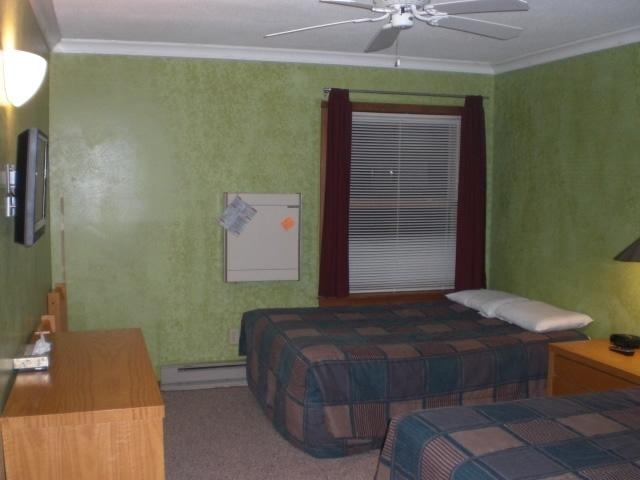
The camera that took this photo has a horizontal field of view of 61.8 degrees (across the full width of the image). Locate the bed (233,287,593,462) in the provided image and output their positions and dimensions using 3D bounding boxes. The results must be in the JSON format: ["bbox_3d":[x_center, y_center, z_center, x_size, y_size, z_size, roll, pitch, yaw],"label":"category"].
[{"bbox_3d":[0.568,0.934,3.934,1.479,0.368,1.405,-1,4,-18],"label":"bed"}]
